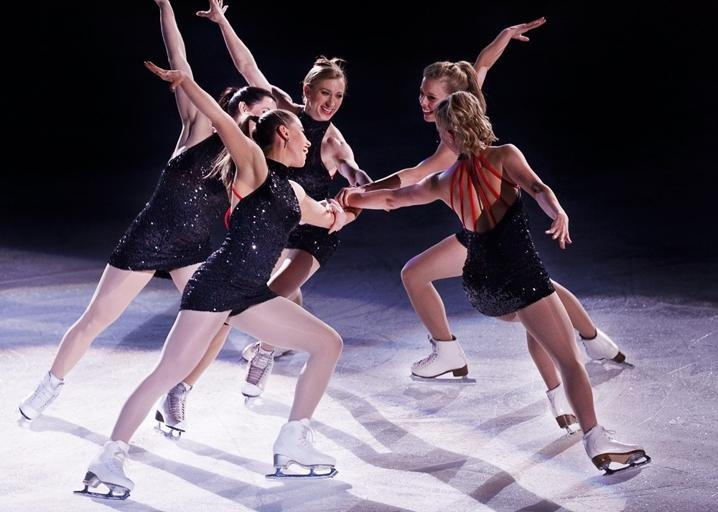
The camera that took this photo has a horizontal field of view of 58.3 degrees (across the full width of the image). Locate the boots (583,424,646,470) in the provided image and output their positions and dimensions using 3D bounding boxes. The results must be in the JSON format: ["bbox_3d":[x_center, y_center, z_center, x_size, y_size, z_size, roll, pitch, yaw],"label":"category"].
[{"bbox_3d":[1.157,0.847,2.879,0.274,0.177,0.100,-30,-28,36],"label":"boots"}]

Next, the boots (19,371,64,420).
[{"bbox_3d":[-1.676,0.734,3.403,0.142,0.275,0.195,14,-2,45],"label":"boots"}]

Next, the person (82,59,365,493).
[{"bbox_3d":[-0.559,0.208,3.030,1.121,2.065,0.398,16,-2,-11],"label":"person"}]

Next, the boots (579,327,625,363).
[{"bbox_3d":[1.477,0.571,3.908,0.314,0.151,0.195,11,-41,11],"label":"boots"}]

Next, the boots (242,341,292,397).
[{"bbox_3d":[-0.548,0.634,3.805,0.156,0.433,0.171,30,-33,-6],"label":"boots"}]
